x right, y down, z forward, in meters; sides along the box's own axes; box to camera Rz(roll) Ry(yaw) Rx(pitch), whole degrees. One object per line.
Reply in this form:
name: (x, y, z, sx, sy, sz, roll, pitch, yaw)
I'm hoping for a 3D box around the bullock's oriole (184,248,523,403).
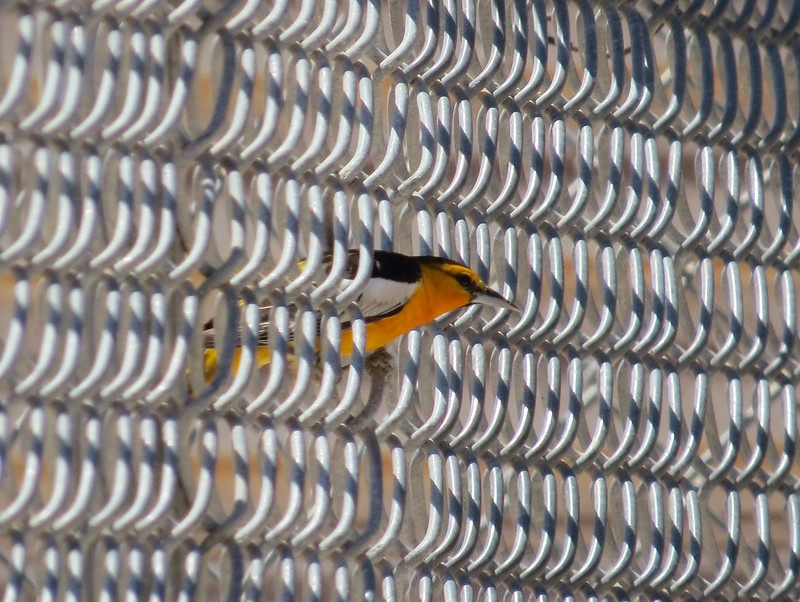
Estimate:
bullock's oriole: (-0.153, 0.026, 5.883, 0.764, 0.226, 0.284, -1, 106, -19)
